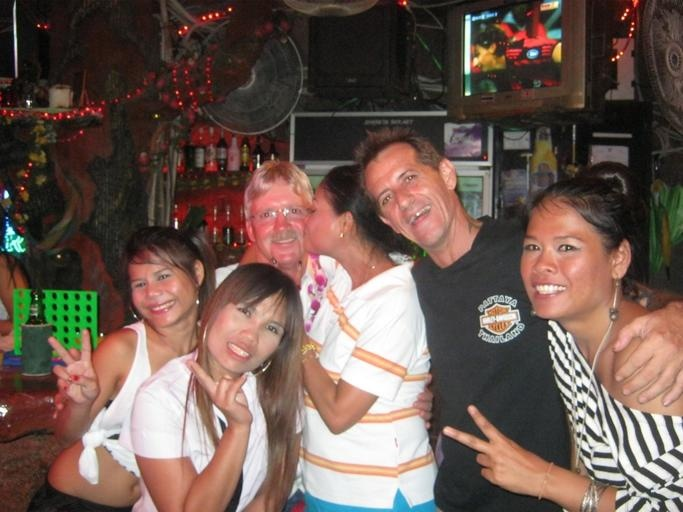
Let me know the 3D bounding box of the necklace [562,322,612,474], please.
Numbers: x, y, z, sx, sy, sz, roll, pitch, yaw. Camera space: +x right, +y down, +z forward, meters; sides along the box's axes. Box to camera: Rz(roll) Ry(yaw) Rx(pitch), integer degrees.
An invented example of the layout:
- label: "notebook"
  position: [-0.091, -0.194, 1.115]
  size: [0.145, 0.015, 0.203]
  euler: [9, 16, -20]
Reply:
- label: "necklace"
  position: [1.026, 0.573, 2.654]
  size: [0.177, 0.578, 0.155]
  euler: [-7, 4, -36]

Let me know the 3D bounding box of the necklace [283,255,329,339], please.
- label: "necklace"
  position: [-0.162, 0.202, 3.083]
  size: [0.167, 0.553, 0.152]
  euler: [-5, -28, 12]

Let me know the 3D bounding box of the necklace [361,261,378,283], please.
- label: "necklace"
  position: [0.126, 0.079, 3.046]
  size: [0.083, 0.089, 0.093]
  euler: [9, -19, -28]

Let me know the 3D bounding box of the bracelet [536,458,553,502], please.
- label: "bracelet"
  position: [0.802, 0.878, 2.568]
  size: [0.027, 0.110, 0.117]
  euler: [9, -3, 12]

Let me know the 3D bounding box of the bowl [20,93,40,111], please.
- label: "bowl"
  position: [-2.376, -1.162, 4.980]
  size: [0.128, 0.118, 0.236]
  euler: [-2, 3, -27]
